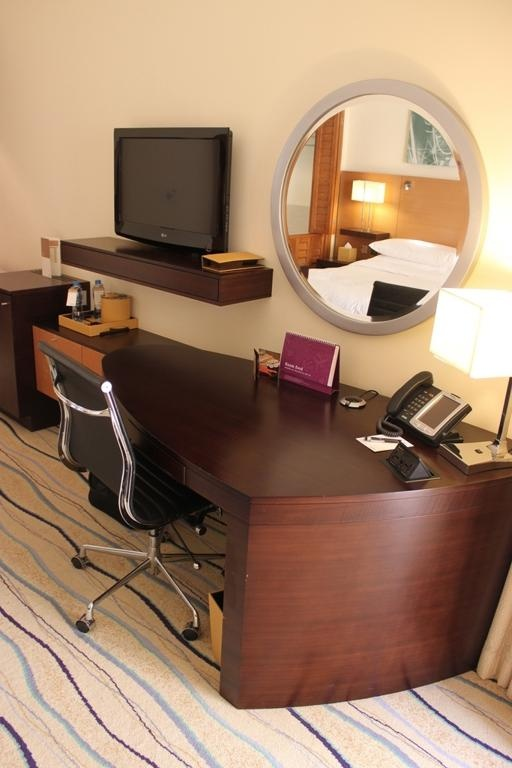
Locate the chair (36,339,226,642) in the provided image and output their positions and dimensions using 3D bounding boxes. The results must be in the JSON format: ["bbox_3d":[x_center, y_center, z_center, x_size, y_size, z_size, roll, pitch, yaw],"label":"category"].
[{"bbox_3d":[-0.407,0.397,1.995,0.571,0.838,0.591,-17,37,-34],"label":"chair"}]

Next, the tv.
[{"bbox_3d":[-0.338,-0.833,2.511,0.067,0.444,0.622,-17,30,-41],"label":"tv"}]

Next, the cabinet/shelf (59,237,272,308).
[{"bbox_3d":[-0.419,-0.517,2.594,1.054,0.147,0.315,18,23,37],"label":"cabinet/shelf"}]

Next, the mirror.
[{"bbox_3d":[0.418,-0.605,1.923,0.861,0.961,0.050,15,22,38],"label":"mirror"}]

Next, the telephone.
[{"bbox_3d":[0.521,0.073,1.778,0.149,0.144,0.219,-13,27,-23],"label":"telephone"}]

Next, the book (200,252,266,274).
[{"bbox_3d":[-0.083,-0.478,2.279,0.247,0.057,0.233,1,18,-6],"label":"book"}]
